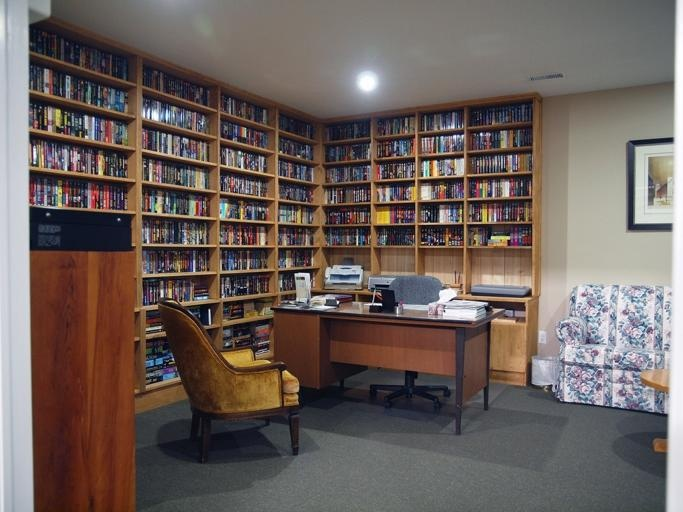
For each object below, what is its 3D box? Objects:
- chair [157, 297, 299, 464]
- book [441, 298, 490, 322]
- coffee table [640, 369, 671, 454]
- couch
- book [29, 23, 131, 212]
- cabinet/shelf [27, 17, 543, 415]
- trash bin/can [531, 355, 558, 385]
[{"bbox_3d":[-0.894,0.900,4.306,1.133,1.367,0.927,0,-1,-18],"label":"chair"},{"bbox_3d":[1.017,0.463,4.318,0.372,0.111,0.384,2,7,14],"label":"book"},{"bbox_3d":[2.262,1.149,3.804,0.185,0.683,0.793,3,7,31],"label":"coffee table"},{"bbox_3d":[2.574,0.914,4.926,0.978,1.081,0.615,-4,-16,34],"label":"couch"},{"bbox_3d":[-2.224,-1.267,4.491,0.174,1.162,0.877,3,7,30],"label":"book"},{"bbox_3d":[-0.228,-0.750,5.537,3.456,3.204,3.660,-2,-2,35],"label":"cabinet/shelf"},{"bbox_3d":[2.136,1.213,5.595,0.248,0.304,0.259,-1,2,0],"label":"trash bin/can"}]
